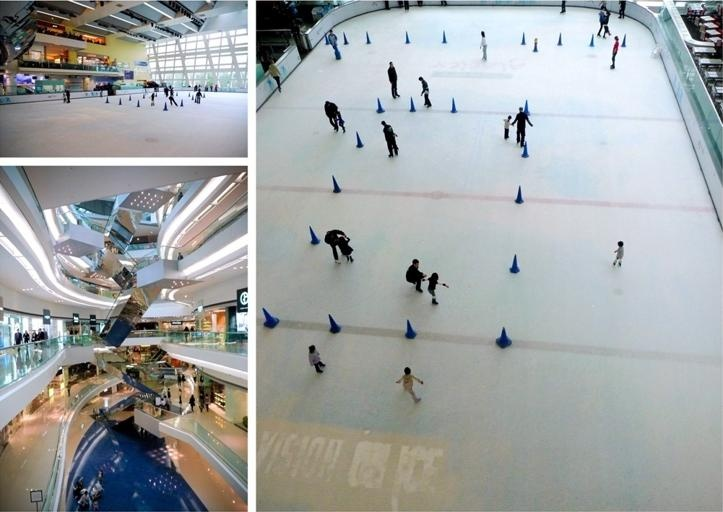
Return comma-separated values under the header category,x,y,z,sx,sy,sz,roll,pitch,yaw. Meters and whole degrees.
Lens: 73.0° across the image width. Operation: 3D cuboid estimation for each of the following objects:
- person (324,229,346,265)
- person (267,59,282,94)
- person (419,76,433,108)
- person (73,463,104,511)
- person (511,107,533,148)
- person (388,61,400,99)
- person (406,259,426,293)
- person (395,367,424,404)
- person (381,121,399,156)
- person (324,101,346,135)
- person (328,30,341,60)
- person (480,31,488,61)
category,x,y,z,sx,sy,sz,roll,pitch,yaw
person,-0.632,-0.266,11.623,0.441,0.830,0.478,-4,21,-3
person,-2.816,-5.862,15.913,0.307,1.016,0.387,-9,12,-10
person,2.052,-5.163,15.332,0.327,0.885,1.071,1,22,8
person,-11.232,9.537,19.859,1.113,2.051,1.124,13,-13,-21
person,4.570,-3.679,13.852,0.495,1.035,1.061,4,22,16
person,1.041,-5.630,15.732,0.359,0.507,1.461,10,-12,11
person,1.237,0.447,10.911,0.427,0.738,0.316,4,16,22
person,1.000,2.482,9.948,0.561,0.808,0.501,12,26,33
person,0.860,-3.356,13.828,0.419,1.003,1.148,2,22,11
person,-0.773,-4.140,14.493,0.590,0.899,0.432,-6,21,-8
person,-0.997,-7.654,17.752,0.388,0.914,1.007,-4,22,-4
person,4.210,-7.131,16.653,0.203,0.890,0.714,2,22,13
